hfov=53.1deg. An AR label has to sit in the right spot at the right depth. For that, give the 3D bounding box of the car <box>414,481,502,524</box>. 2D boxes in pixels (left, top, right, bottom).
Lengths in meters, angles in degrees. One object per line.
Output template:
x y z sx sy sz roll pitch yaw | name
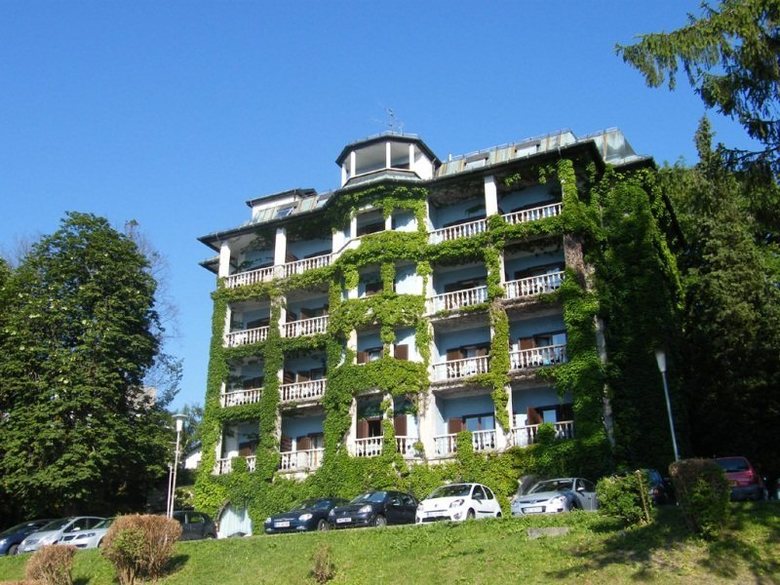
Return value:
3.292 10.168 36.982 2.726 2.134 4.789 -14 -24 29 | car

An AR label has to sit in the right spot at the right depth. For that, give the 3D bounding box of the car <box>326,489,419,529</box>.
-0.611 10.597 37.751 2.743 1.981 5.444 -16 -22 32 | car

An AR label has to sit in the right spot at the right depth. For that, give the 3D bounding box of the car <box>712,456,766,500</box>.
16.210 8.569 36.072 2.545 1.902 5.635 -6 -15 21 | car
